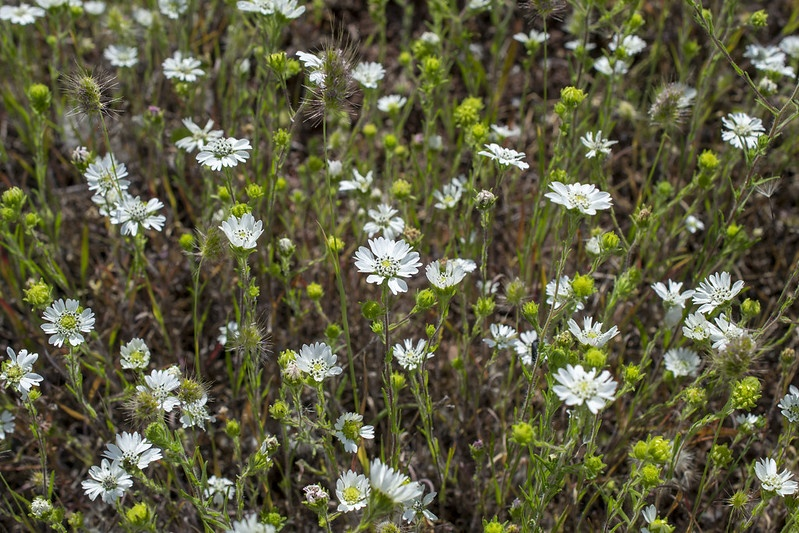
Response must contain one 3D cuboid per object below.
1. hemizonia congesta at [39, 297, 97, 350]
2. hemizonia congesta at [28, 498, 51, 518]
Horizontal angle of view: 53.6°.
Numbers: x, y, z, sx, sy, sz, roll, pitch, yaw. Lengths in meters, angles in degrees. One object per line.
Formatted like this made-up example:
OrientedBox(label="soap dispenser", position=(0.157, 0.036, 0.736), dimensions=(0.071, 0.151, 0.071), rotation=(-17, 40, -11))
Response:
OrientedBox(label="hemizonia congesta", position=(-2.393, 0.359, 5.796), dimensions=(0.299, 0.360, 0.145), rotation=(10, 70, -9))
OrientedBox(label="hemizonia congesta", position=(-2.518, 1.697, 5.564), dimensions=(0.125, 0.122, 0.156), rotation=(17, 71, -5))
